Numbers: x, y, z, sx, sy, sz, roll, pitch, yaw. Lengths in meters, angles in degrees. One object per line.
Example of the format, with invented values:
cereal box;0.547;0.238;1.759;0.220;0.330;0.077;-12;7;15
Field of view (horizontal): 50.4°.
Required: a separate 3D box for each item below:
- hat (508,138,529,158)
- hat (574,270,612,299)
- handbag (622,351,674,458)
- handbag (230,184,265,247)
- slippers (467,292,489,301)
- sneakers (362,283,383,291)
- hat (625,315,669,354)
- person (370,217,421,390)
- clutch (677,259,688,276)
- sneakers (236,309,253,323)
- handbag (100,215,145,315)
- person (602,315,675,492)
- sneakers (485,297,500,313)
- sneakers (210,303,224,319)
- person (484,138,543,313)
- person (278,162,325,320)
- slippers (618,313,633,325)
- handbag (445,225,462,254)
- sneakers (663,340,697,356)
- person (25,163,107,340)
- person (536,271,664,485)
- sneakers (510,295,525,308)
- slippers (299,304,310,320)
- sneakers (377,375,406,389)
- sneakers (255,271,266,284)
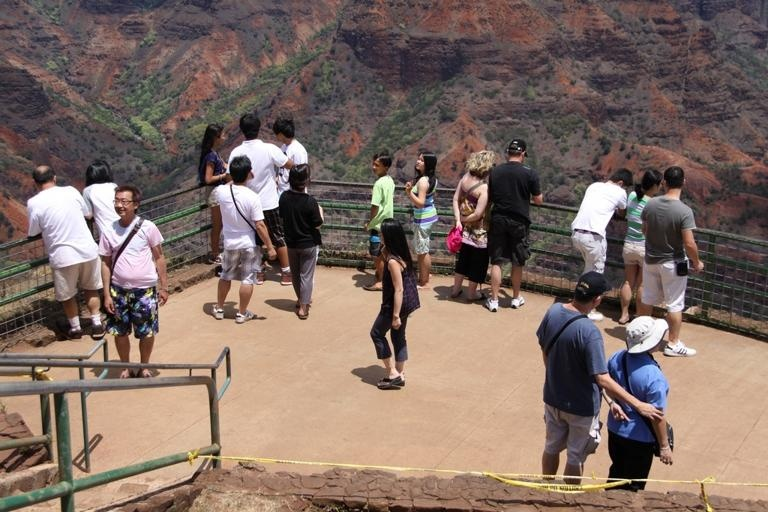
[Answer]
hat;1.953;-1.599;12.103;0.258;0.284;0.478;-1;10;6
hat;2.186;0.289;8.499;0.227;0.198;0.343;18;37;42
handbag;2.829;1.572;8.559;0.258;1.065;0.576;-15;1;-41
handbag;-2.025;-0.603;11.755;0.361;0.843;0.305;-3;10;-10
slippers;1.471;0.646;12.882;0.258;0.086;0.143;-10;20;-26
sneakers;-0.196;0.515;13.303;0.308;0.114;0.117;1;4;14
hat;2.694;0.803;8.434;0.371;0.392;0.315;1;10;16
person;0.114;0.654;10.362;0.570;2.250;0.557;-5;10;-22
clutch;3.956;0.160;10.939;0.149;0.202;0.052;0;5;5
sneakers;-2.077;0.897;12.176;0.114;0.137;0.317;9;17;31
handbag;-3.330;0.074;10.236;0.256;1.086;0.655;16;6;-12
person;2.621;1.552;8.406;0.652;1.854;0.433;2;10;18
sneakers;1.657;0.747;12.543;0.115;0.124;0.294;-3;14;-4
sneakers;-2.518;0.831;12.326;0.115;0.139;0.325;-1;12;-13
person;1.941;-0.451;12.345;0.831;2.628;0.714;3;10;26
person;-1.208;-0.182;12.028;0.538;2.343;0.570;-8;11;-33
slippers;3.572;0.945;12.190;0.083;0.156;0.248;-16;7;44
handbag;1.068;-0.250;12.399;0.140;0.366;0.273;12;-17;-38
sneakers;4.097;1.286;11.453;0.500;0.218;0.201;0;6;-13
person;-4.368;-0.005;11.220;0.860;2.482;0.493;-6;10;-24
person;2.397;1.432;9.040;0.757;2.186;1.548;-21;33;-29
sneakers;2.063;0.713;12.732;0.106;0.125;0.289;5;22;32
slippers;-1.215;0.850;12.291;0.206;0.265;0.622;0;-2;-5
sneakers;0.077;1.641;10.599;0.289;0.124;0.169;1;8;1
sneakers;-2.026;0.372;13.360;0.147;0.205;0.211;1;-1;-3
